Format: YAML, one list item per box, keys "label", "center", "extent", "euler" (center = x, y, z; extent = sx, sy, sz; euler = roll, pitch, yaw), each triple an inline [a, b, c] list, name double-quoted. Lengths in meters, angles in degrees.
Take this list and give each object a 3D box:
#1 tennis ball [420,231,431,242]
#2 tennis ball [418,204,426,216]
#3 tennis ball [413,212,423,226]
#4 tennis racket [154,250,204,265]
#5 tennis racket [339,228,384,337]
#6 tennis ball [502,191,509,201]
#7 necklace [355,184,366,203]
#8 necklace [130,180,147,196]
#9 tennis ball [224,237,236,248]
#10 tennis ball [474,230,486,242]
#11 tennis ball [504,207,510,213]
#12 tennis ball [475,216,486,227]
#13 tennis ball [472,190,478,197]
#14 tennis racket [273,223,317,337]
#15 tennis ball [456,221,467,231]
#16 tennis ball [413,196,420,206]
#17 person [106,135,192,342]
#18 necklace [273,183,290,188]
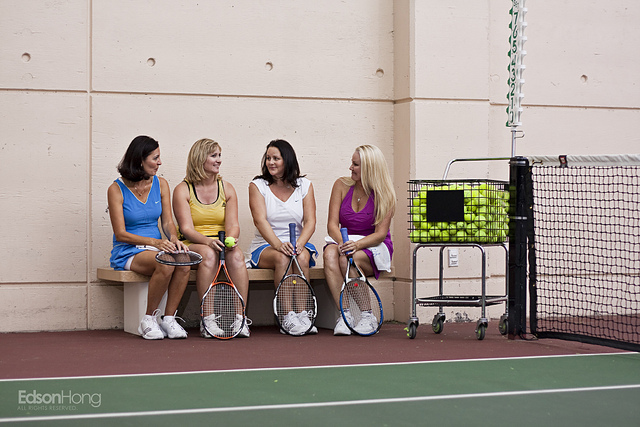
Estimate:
- label: "tennis ball"
  center: [0.934, 0.204, 6.207]
  extent: [0.083, 0.100, 0.084]
  euler: [3, -6, 0]
- label: "tennis ball"
  center: [0.915, -0.028, 6.277]
  extent: [0.069, 0.070, 0.069]
  euler: [-13, 15, 4]
- label: "tennis ball"
  center: [0.868, 0.050, 6.264]
  extent: [0.102, 0.104, 0.101]
  euler: [5, 13, -1]
- label: "tennis racket"
  center: [-1.225, 0.388, 6.182]
  extent: [0.403, 0.114, 0.283]
  euler: [0, 2, -7]
- label: "tennis racket"
  center: [0.371, 0.728, 6.301]
  extent: [0.386, 0.756, 0.423]
  euler: [0, 2, 2]
- label: "tennis ball"
  center: [1.663, -0.154, 6.265]
  extent: [0.063, 0.073, 0.070]
  euler: [1, 1, 5]
- label: "necklace"
  center: [0.399, -0.191, 6.759]
  extent: [0.055, 0.139, 0.132]
  euler: [-21, 32, -36]
- label: "necklace"
  center: [-1.680, -0.236, 6.483]
  extent: [0.118, 0.119, 0.035]
  euler: [-3, -17, -11]
- label: "tennis ball"
  center: [-0.803, 0.262, 6.272]
  extent: [0.068, 0.066, 0.087]
  euler: [-18, 2, 44]
- label: "tennis ball"
  center: [1.425, 0.201, 6.209]
  extent: [0.090, 0.108, 0.091]
  euler: [3, -3, 0]
- label: "tennis ball"
  center: [1.673, -0.031, 6.276]
  extent: [0.035, 0.034, 0.031]
  euler: [1, 0, -5]
- label: "tennis ball"
  center: [1.419, 0.072, 6.252]
  extent: [0.083, 0.097, 0.083]
  euler: [-3, 17, 1]
- label: "tennis ball"
  center: [1.374, -0.174, 6.205]
  extent: [0.045, 0.051, 0.052]
  euler: [7, 16, 22]
- label: "tennis racket"
  center: [-0.218, 0.615, 6.300]
  extent: [0.314, 0.911, 0.299]
  euler: [2, 13, 0]
- label: "tennis ball"
  center: [1.250, 0.117, 6.199]
  extent: [0.076, 0.057, 0.076]
  euler: [2, 3, 0]
- label: "tennis ball"
  center: [0.861, -0.107, 6.247]
  extent: [0.055, 0.083, 0.051]
  euler: [0, 2, 0]
- label: "person"
  center: [-1.575, 0.185, 6.358]
  extent: [0.777, 1.877, 0.684]
  euler: [-2, -32, 1]
- label: "necklace"
  center: [-0.358, -0.266, 6.776]
  extent: [0.139, 0.042, 0.044]
  euler: [0, 2, -3]
